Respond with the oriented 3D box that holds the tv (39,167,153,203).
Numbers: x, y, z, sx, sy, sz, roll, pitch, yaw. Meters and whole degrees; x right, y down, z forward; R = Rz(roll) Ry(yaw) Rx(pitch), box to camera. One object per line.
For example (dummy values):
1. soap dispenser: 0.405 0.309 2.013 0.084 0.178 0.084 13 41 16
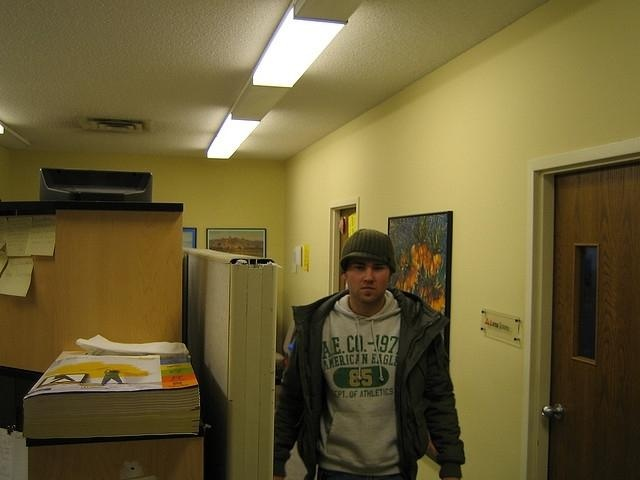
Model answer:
1. tv: -0.850 -0.205 1.851 0.409 0.101 0.240 4 -3 -15
